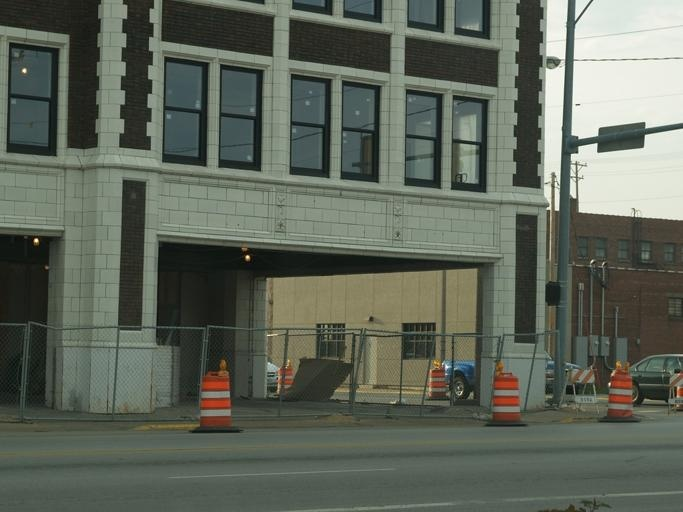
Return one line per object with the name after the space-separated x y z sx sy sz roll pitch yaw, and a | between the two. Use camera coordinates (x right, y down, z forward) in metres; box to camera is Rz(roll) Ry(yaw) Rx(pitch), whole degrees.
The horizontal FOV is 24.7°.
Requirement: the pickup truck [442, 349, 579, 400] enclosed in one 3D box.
4.548 3.792 49.213 1.940 1.299 3.580 0 -2 -32 | pickup truck
